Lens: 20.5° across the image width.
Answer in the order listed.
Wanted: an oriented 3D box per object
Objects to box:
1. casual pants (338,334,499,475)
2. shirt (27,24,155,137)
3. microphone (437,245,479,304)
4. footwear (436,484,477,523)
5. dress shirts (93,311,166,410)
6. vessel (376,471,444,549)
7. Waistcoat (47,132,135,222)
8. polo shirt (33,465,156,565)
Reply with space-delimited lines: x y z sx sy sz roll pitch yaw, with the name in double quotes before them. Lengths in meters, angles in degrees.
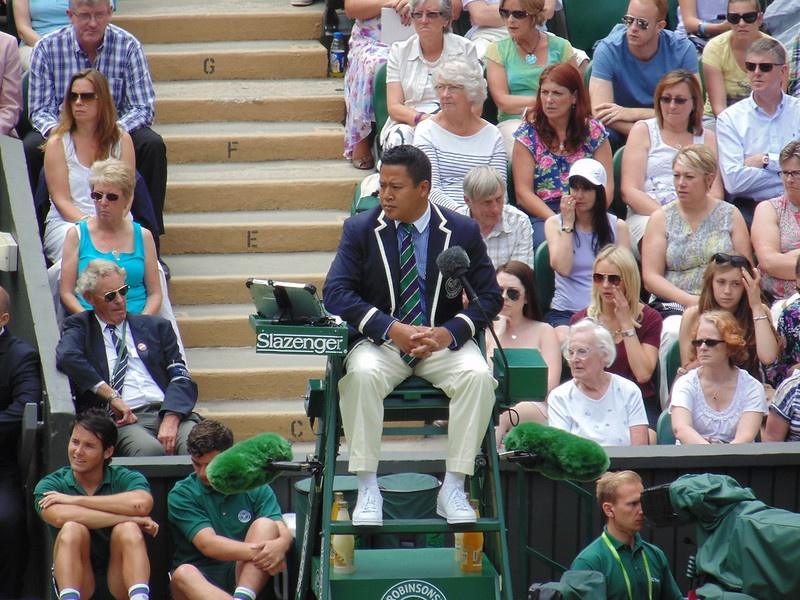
"casual pants" 0.088 0.679 14.336 0.873 0.813 0.872 1 -8 -1
"shirt" -2.315 -1.727 16.936 0.880 0.673 0.880 4 16 -28
"microphone" 0.368 -0.189 13.955 0.202 0.362 0.172 -35 -9 -3
"footwear" 0.356 1.265 13.934 0.251 0.245 0.226 -1 -2 2
"dress shirts" -1.934 0.422 15.530 0.485 0.603 0.222 -19 -7 -30
"vessel" 0.107 1.387 14.958 0.495 0.497 0.467 -1 8 4
"Waistcoat" -2.312 -0.899 16.220 0.698 0.740 0.444 -2 2 -42
"polo shirt" -2.013 1.448 14.634 0.746 0.844 0.498 -5 -10 -13
